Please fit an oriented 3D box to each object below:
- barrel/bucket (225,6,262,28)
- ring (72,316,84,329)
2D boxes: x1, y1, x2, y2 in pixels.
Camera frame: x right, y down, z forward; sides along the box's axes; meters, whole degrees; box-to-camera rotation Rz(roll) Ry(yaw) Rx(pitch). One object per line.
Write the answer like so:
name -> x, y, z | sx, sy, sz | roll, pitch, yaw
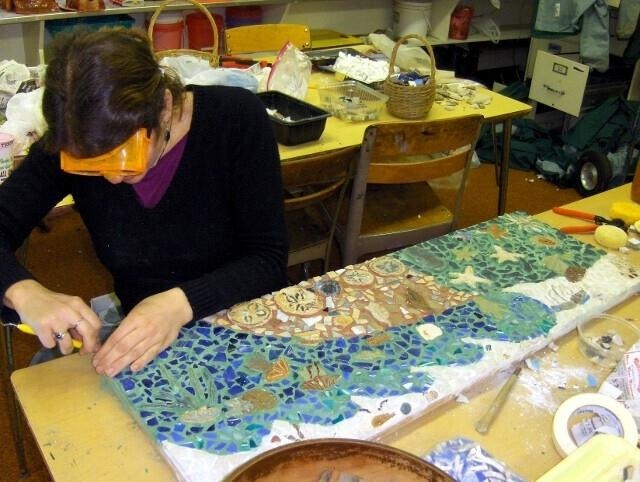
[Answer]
barrel/bucket -> -0.540, -1.575, 3.597 | 0.242, 0.171, 0.240 | 0, 33, 0
ring -> -0.487, 0.161, 1.003 | 0.005, 0.018, 0.017 | 41, 37, -15
